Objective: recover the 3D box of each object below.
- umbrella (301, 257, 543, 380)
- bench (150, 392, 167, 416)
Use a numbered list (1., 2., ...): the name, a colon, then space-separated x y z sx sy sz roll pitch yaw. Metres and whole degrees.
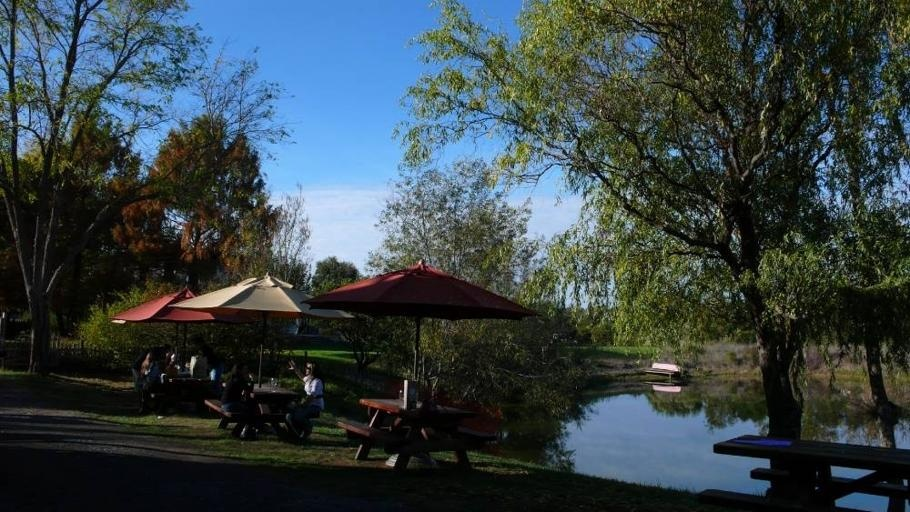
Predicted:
1. umbrella: -0.992 3.023 35.252 5.515 3.971 5.636 -8 -15 34
2. bench: -11.583 5.728 30.637 0.404 0.762 0.753 6 -10 -40
